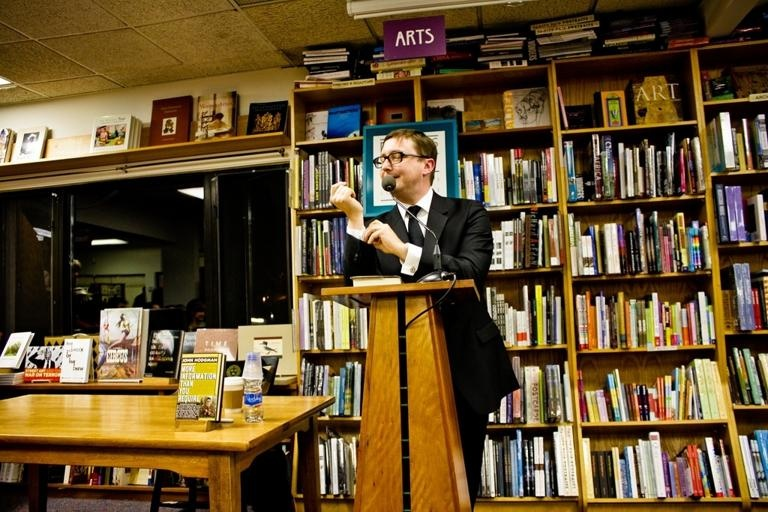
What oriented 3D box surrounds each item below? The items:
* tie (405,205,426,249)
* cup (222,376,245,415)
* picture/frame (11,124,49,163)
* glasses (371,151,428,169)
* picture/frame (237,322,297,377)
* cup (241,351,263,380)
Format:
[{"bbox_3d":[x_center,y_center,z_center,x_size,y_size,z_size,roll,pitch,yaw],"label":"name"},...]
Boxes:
[{"bbox_3d":[0.173,-0.167,3.579,0.069,0.290,0.079,-14,-20,18],"label":"tie"},{"bbox_3d":[-0.901,0.850,3.695,0.186,0.172,0.184,0,-8,0],"label":"cup"},{"bbox_3d":[-3.438,-1.081,5.976,0.403,0.499,0.060,-2,-17,7],"label":"picture/frame"},{"bbox_3d":[0.103,-0.558,3.572,0.327,0.082,0.110,0,-8,3],"label":"glasses"},{"bbox_3d":[-0.901,0.745,4.799,0.454,0.370,0.047,-2,-5,4],"label":"picture/frame"},{"bbox_3d":[-0.763,0.669,3.682,0.150,0.157,0.148,1,-9,0],"label":"cup"}]
